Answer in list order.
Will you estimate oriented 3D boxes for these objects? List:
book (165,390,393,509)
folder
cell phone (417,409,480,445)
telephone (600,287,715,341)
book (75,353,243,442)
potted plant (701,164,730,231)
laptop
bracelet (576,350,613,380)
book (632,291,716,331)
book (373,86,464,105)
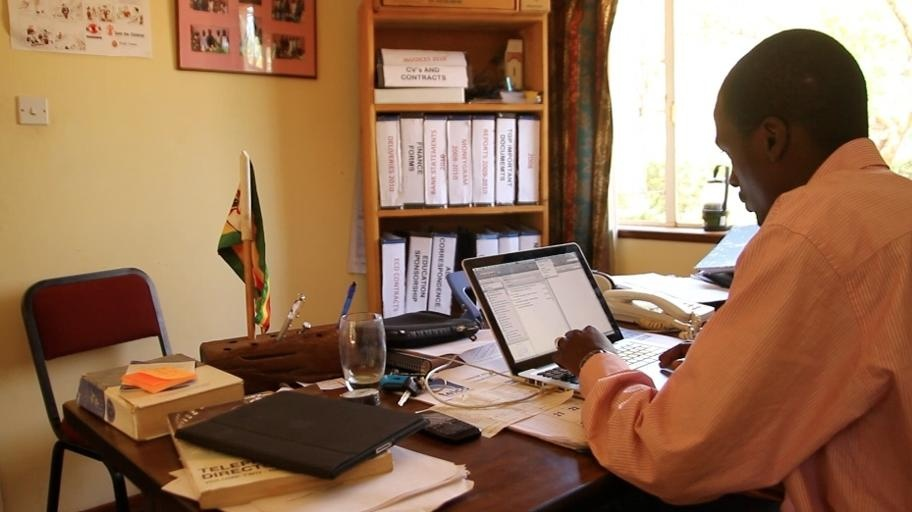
[{"bbox_3d":[-0.487,0.494,1.700,0.537,0.188,0.356,-6,11,-22],"label":"book"},{"bbox_3d":[-0.407,0.453,1.657,0.359,0.034,0.268,6,12,28],"label":"folder"},{"bbox_3d":[-0.025,0.479,1.802,0.139,0.019,0.079,10,14,40],"label":"cell phone"},{"bbox_3d":[0.784,0.207,2.508,0.306,0.092,0.232,11,14,38],"label":"telephone"},{"bbox_3d":[-0.904,0.402,1.851,0.287,0.059,0.280,6,8,37],"label":"book"},{"bbox_3d":[1.386,-0.320,3.464,0.137,0.330,0.164,-10,13,-42],"label":"potted plant"},{"bbox_3d":[0.342,0.170,2.127,0.590,0.296,0.550,-9,13,-39],"label":"laptop"},{"bbox_3d":[0.392,0.312,1.884,0.096,0.036,0.089,-44,-5,41],"label":"bracelet"},{"bbox_3d":[0.839,0.186,2.493,0.230,0.069,0.168,13,20,36],"label":"book"},{"bbox_3d":[-0.191,-0.827,3.311,0.449,0.084,0.052,-4,12,-14],"label":"book"}]
